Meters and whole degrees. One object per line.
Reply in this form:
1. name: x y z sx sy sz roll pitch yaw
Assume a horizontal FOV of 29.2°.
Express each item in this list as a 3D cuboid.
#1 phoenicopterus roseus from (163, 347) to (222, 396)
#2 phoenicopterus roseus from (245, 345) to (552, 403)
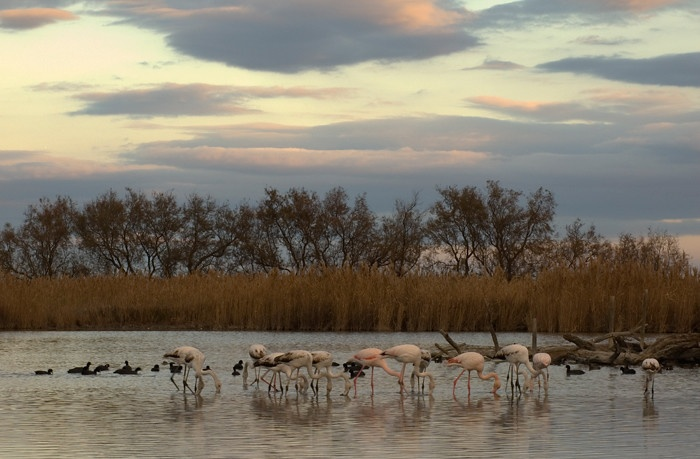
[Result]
1. phoenicopterus roseus: -5.520 4.817 47.470 1.776 1.456 3.292 -3 1 -8
2. phoenicopterus roseus: 1.599 4.866 47.160 9.353 1.465 2.795 -3 1 -4
